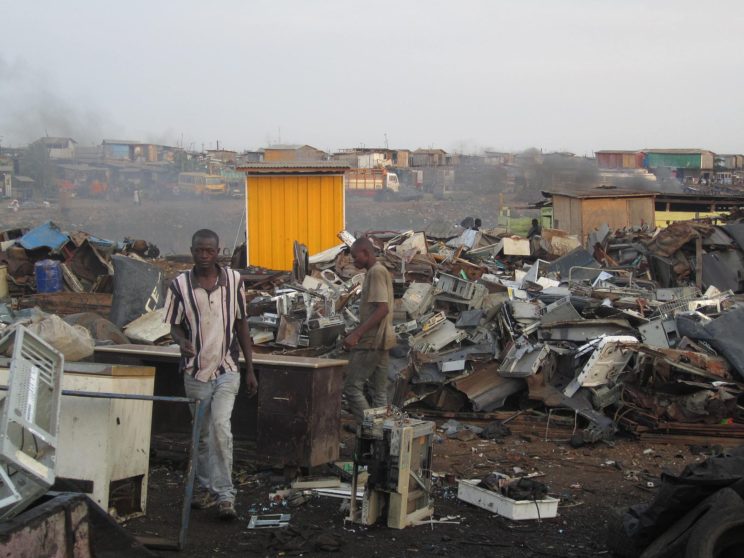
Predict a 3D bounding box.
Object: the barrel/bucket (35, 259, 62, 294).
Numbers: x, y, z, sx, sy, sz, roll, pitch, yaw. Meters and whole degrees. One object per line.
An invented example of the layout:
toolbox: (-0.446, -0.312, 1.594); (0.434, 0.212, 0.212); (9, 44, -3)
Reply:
barrel/bucket: (-5.386, -0.021, 14.450); (0.440, 0.536, 0.648); (-1, 10, -22)

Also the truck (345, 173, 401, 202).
truck: (0.017, -5.567, 50.914); (1.440, 1.568, 4.120); (10, 12, 36)

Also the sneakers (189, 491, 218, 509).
sneakers: (-1.422, 1.865, 7.313); (0.198, 0.070, 0.194); (5, 19, -2)

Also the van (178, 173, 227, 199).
van: (-10.646, -5.932, 53.894); (4.199, 1.256, 1.816); (11, 12, 40)

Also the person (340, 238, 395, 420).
person: (-0.009, 0.496, 8.404); (0.484, 1.736, 0.544); (3, 9, 1)

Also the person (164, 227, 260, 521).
person: (-1.332, 0.751, 7.083); (0.711, 2.290, 0.563); (3, 9, 0)

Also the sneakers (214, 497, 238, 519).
sneakers: (-1.179, 1.864, 7.047); (0.161, 0.177, 0.138); (1, 9, -8)
